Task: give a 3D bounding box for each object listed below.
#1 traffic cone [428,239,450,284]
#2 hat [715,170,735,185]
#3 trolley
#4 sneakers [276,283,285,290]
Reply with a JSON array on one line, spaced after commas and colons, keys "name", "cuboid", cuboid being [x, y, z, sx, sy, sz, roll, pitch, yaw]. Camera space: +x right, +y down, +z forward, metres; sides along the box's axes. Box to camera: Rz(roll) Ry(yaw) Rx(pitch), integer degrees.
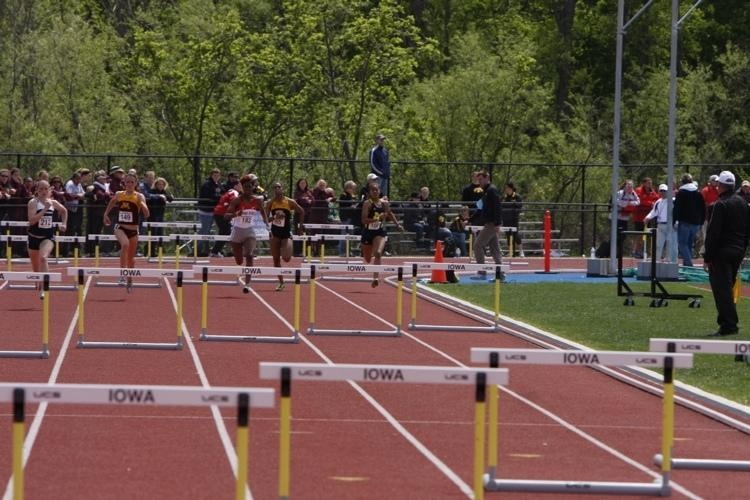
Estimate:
[{"name": "traffic cone", "cuboid": [1.816, 0.401, 39.009, 0.806, 1.193, 0.834, 3, 0, -28]}, {"name": "hat", "cuboid": [8.009, -1.604, 30.673, 0.341, 0.323, 0.452, -1, 2, 8]}, {"name": "trolley", "cuboid": [7.172, 0.585, 35.167, 2.028, 2.663, 2.176, -2, 3, -15]}, {"name": "sneakers", "cuboid": [-2.556, 1.020, 36.499, 0.134, 0.155, 0.352, -3, 6, 12]}]
